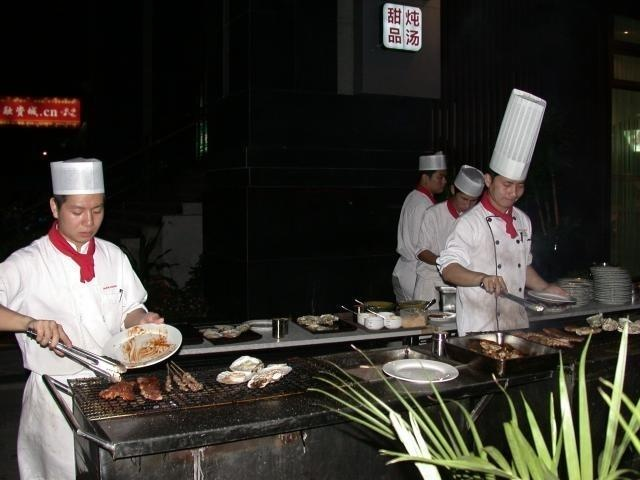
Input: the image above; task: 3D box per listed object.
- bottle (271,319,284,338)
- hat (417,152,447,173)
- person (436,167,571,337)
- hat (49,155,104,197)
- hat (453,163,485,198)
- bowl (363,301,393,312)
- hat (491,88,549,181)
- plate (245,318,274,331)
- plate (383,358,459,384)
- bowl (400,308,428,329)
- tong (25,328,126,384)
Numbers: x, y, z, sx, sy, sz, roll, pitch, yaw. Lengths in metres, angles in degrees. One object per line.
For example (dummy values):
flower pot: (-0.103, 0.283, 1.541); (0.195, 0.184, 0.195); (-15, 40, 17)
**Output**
bottle: (-0.314, 0.660, 3.682); (0.119, 0.139, 0.119); (4, -6, -28)
hat: (1.213, -0.779, 5.241); (0.247, 0.182, 0.247); (-4, 8, -31)
person: (1.265, 0.122, 3.493); (1.012, 1.183, 0.638); (-4, 7, -34)
hat: (-1.296, -0.323, 2.604); (0.228, 0.182, 0.229); (-3, 8, -17)
hat: (1.447, -0.578, 4.757); (0.286, 0.201, 0.279); (20, 31, -10)
bowl: (0.541, 0.597, 4.397); (0.266, 0.069, 0.391); (1, 5, 9)
hat: (1.444, -0.752, 3.594); (0.418, 0.681, 0.303); (-4, 7, -38)
plate: (-0.494, 0.666, 3.986); (0.194, 0.079, 0.292); (-1, 5, -8)
plate: (0.521, 0.665, 2.537); (0.372, 0.050, 0.314); (-2, 6, -28)
bowl: (0.779, 0.620, 3.987); (0.150, 0.097, 0.153); (0, 2, 0)
tong: (-1.117, 0.554, 2.293); (0.448, 0.106, 0.103); (17, 11, 12)
